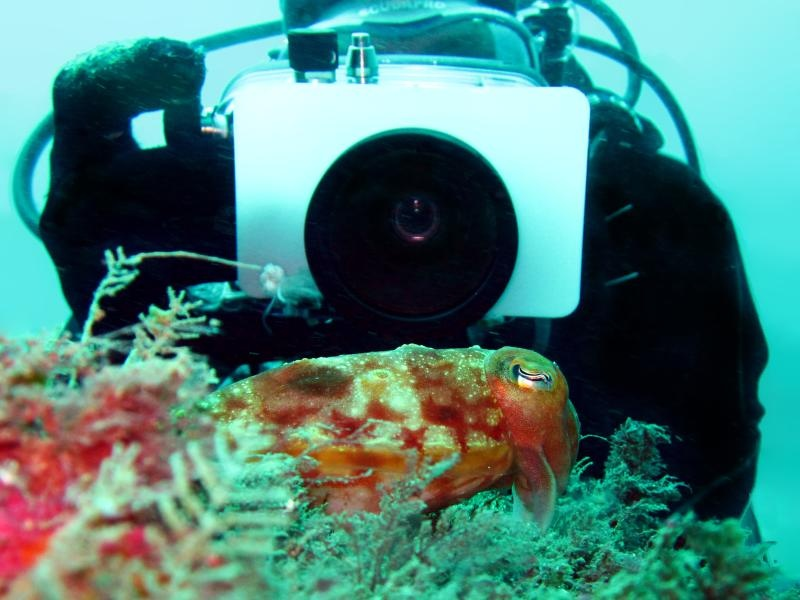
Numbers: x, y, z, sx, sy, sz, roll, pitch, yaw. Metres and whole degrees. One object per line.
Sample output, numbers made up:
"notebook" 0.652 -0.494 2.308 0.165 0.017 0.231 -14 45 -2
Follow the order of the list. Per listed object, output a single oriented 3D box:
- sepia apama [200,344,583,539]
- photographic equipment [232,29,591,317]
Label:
"sepia apama" 0.002 0.225 1.180 0.405 0.158 0.275 13 -15 -13
"photographic equipment" 0.023 -0.233 1.286 0.718 0.470 0.391 1 6 0
